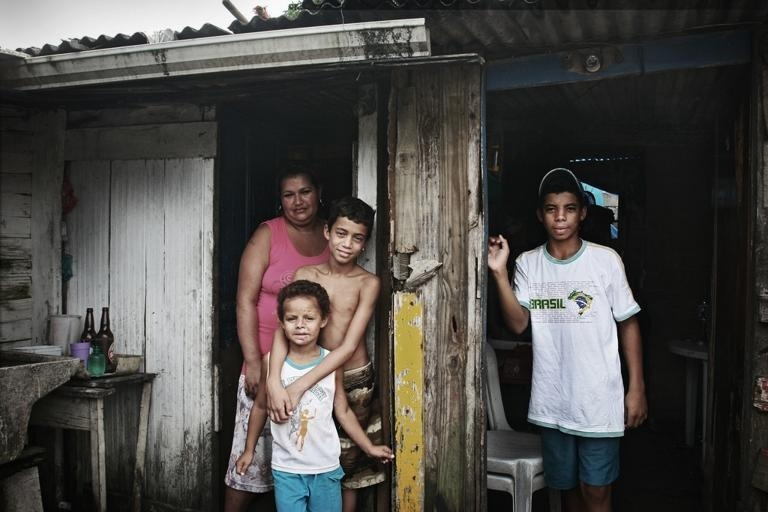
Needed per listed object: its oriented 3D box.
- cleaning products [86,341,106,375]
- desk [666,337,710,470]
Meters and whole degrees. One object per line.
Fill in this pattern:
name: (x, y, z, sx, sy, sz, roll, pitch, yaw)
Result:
cleaning products: (-2.341, 0.849, 5.364, 0.138, 0.224, 0.134, 3, -4, -43)
desk: (3.007, 1.391, 6.460, 0.316, 1.114, 1.505, -2, -2, 23)
